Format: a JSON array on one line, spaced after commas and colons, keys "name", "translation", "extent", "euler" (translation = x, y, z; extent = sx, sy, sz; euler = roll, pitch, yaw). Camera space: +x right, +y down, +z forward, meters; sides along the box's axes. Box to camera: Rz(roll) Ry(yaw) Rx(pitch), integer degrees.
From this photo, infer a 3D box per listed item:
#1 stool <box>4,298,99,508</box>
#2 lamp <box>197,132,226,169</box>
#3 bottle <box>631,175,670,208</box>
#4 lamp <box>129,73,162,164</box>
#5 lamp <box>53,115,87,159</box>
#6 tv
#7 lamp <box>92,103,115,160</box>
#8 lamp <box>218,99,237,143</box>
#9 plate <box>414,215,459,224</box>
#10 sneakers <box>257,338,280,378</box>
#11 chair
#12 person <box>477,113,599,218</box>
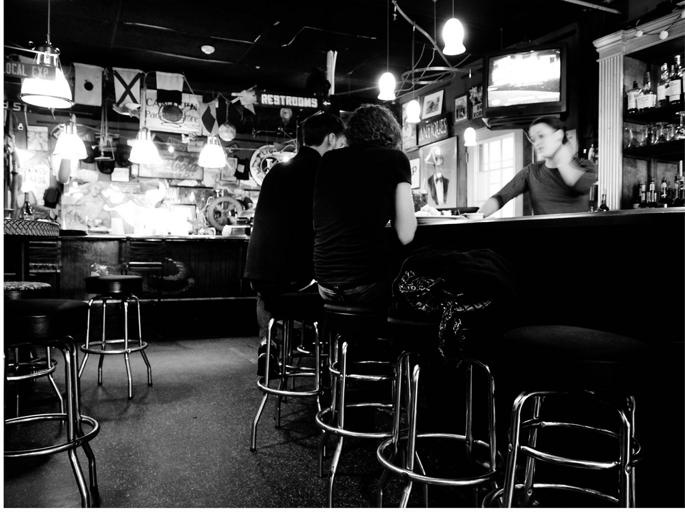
[{"name": "stool", "translation": [-1.673, 0.775, 3.597], "extent": [0.528, 1.088, 1.170], "euler": [-3, 3, -22]}, {"name": "lamp", "translation": [-1.539, -1.244, 7.530], "extent": [0.263, 0.365, 0.249], "euler": [-1, 3, 2]}, {"name": "bottle", "translation": [2.958, -0.595, 5.951], "extent": [0.406, 0.264, 0.381], "euler": [-1, 3, 0]}, {"name": "lamp", "translation": [-2.483, -1.741, 7.963], "extent": [0.298, 1.315, 2.468], "euler": [-2, 3, -17]}, {"name": "lamp", "translation": [-2.862, -1.270, 6.665], "extent": [0.276, 0.428, 0.641], "euler": [-2, 3, -19]}, {"name": "tv", "translation": [1.771, -1.588, 6.307], "extent": [0.997, 0.906, 0.552], "euler": [0, 0, 36]}, {"name": "lamp", "translation": [-3.203, -1.642, 8.553], "extent": [0.258, 0.751, 1.143], "euler": [-2, 3, -20]}, {"name": "lamp", "translation": [-1.703, -1.987, 9.336], "extent": [0.274, 0.556, 0.166], "euler": [-2, 3, -12]}, {"name": "plate", "translation": [0.572, -0.212, 3.739], "extent": [0.240, 0.048, 0.371], "euler": [0, 4, 22]}, {"name": "sneakers", "translation": [-0.528, 0.698, 4.379], "extent": [0.150, 0.209, 0.476], "euler": [2, -1, 0]}, {"name": "chair", "translation": [0.591, 0.797, 3.319], "extent": [1.811, 1.067, 0.852], "euler": [1, 4, 41]}, {"name": "person", "translation": [1.653, -0.772, 5.315], "extent": [0.850, 0.827, 0.558], "euler": [-1, 3, 8]}]
